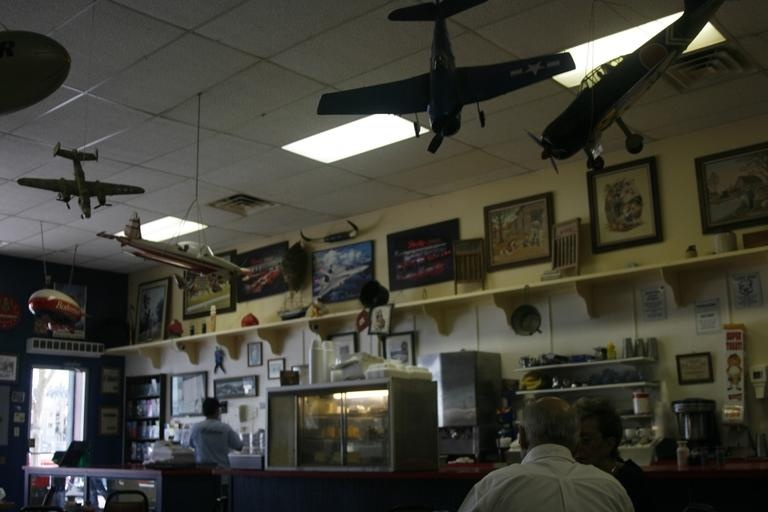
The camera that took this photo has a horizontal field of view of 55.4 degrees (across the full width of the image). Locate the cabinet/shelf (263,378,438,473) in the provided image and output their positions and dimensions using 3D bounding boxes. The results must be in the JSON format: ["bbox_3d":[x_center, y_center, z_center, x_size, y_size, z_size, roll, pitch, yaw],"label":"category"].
[{"bbox_3d":[-0.214,1.963,8.372,2.051,1.105,1.080,-12,-23,35],"label":"cabinet/shelf"}]

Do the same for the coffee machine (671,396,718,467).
[{"bbox_3d":[3.581,1.945,8.426,0.437,0.764,0.424,-7,8,19],"label":"coffee machine"}]

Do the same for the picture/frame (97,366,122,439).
[{"bbox_3d":[-5.070,2.745,13.829,0.089,1.269,0.503,-12,-19,33],"label":"picture/frame"}]

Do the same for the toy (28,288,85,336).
[{"bbox_3d":[-5.266,0.918,11.847,0.682,0.576,0.890,-5,-14,10],"label":"toy"}]

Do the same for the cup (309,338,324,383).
[{"bbox_3d":[-0.757,1.212,8.392,0.143,0.522,0.200,-1,-16,-4],"label":"cup"}]

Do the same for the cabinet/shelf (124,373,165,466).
[{"bbox_3d":[-4.347,3.258,13.510,0.780,2.025,0.234,-5,-9,16],"label":"cabinet/shelf"}]

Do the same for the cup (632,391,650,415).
[{"bbox_3d":[3.032,1.763,8.723,0.264,0.295,0.168,-1,-10,9],"label":"cup"}]

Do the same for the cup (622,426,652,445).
[{"bbox_3d":[2.933,2.126,8.605,0.306,0.333,0.179,7,-10,-10],"label":"cup"}]
